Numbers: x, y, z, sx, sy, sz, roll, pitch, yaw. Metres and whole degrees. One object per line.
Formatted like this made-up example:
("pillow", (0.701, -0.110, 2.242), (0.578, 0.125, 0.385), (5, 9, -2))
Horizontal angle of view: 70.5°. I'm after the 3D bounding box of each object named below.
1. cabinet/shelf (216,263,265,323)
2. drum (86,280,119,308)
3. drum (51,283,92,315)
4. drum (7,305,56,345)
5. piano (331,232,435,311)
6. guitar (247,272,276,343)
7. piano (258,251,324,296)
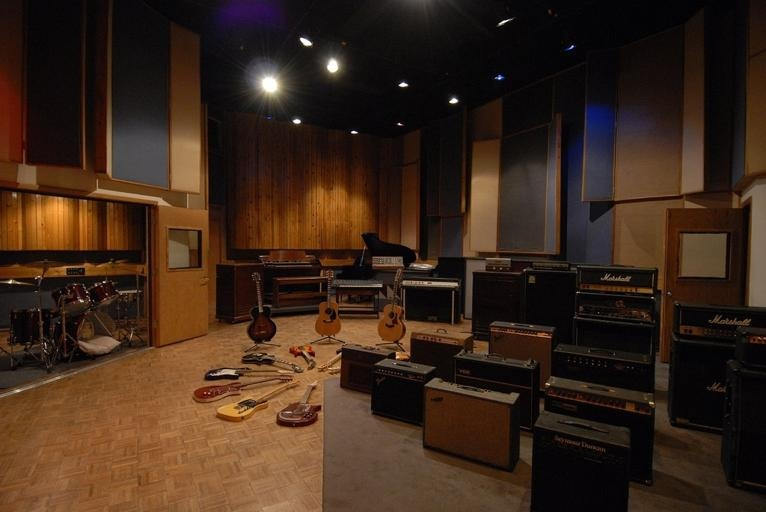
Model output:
("cabinet/shelf", (-2.823, 0.671, 10.836), (0.677, 1.157, 0.886), (2, 4, 41))
("drum", (-4.329, 0.575, 8.374), (0.388, 0.294, 0.395), (-23, 8, 3))
("drum", (-4.627, 0.666, 8.079), (0.362, 0.509, 0.464), (8, 12, 37))
("drum", (-5.155, 1.037, 8.144), (0.602, 0.566, 0.613), (2, 1, 18))
("piano", (0.020, 0.287, 11.720), (1.911, 1.968, 1.415), (0, 2, 5))
("guitar", (-2.108, 0.807, 9.343), (0.430, 1.184, 1.546), (-2, 10, -12))
("piano", (-1.935, 0.332, 11.354), (1.247, 0.943, 0.754), (-2, -7, -22))
